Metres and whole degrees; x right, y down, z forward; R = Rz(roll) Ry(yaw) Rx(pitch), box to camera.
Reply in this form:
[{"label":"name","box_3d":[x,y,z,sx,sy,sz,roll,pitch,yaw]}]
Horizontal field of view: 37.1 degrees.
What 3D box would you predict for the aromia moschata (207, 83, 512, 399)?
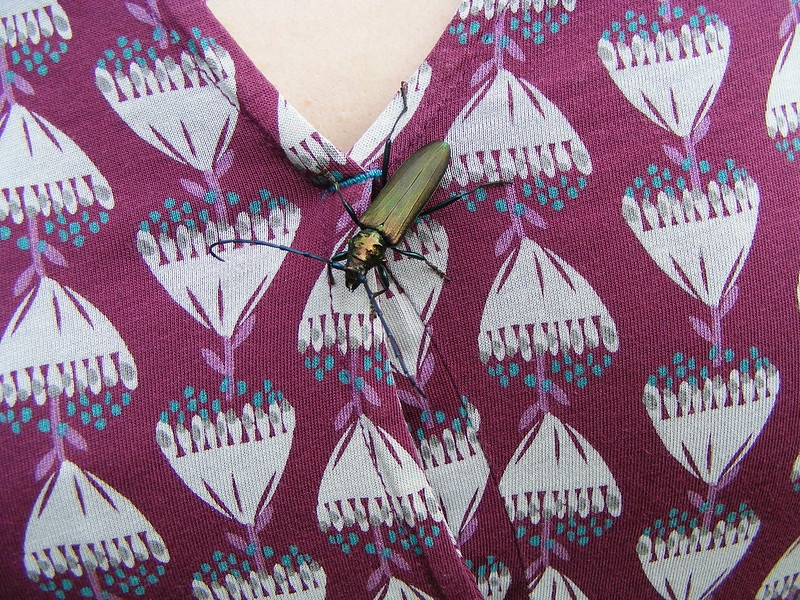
[{"label":"aromia moschata","box_3d":[-0.064,-0.012,1.585,0.352,0.458,0.120,31,1,10]}]
